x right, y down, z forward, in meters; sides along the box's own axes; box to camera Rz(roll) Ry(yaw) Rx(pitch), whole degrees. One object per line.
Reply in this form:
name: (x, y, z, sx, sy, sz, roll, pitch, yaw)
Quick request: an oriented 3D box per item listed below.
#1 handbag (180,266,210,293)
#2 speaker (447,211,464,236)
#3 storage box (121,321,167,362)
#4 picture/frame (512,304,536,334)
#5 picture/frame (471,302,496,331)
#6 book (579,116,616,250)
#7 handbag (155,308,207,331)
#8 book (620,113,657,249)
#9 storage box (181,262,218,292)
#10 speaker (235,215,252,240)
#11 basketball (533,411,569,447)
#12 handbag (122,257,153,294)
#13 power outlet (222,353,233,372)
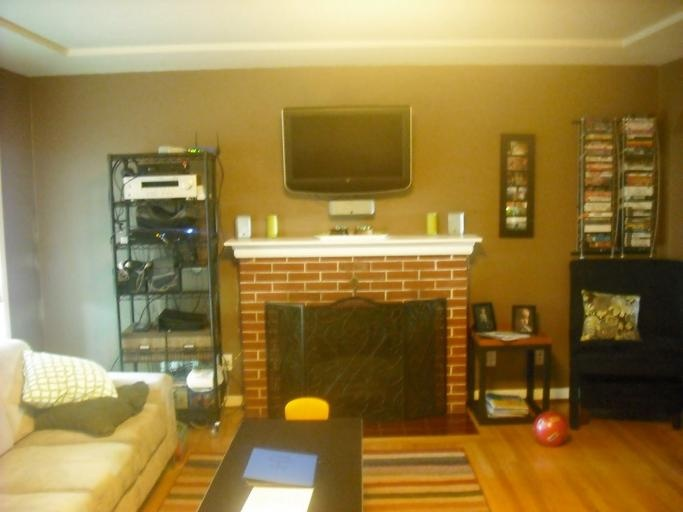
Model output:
handbag: (-1.169, 0.186, 4.981, 0.181, 0.178, 0.087, 1, 9, -1)
speaker: (0.895, -0.240, 5.015, 0.158, 0.238, 0.161, 2, 1, 7)
storage box: (-1.509, 0.653, 4.776, 0.269, 0.176, 0.263, 0, 4, -3)
picture/frame: (1.434, 0.509, 4.922, 0.208, 0.285, 0.040, 1, -3, 2)
picture/frame: (1.120, 0.489, 4.939, 0.215, 0.250, 0.040, -1, -10, -13)
book: (2.032, -0.546, 4.970, 0.312, 1.058, 0.080, -2, 3, -6)
handbag: (-1.233, 0.510, 4.849, 0.264, 0.089, 0.194, 1, 3, -7)
book: (2.368, -0.544, 4.941, 0.327, 1.074, 0.082, -2, 3, -4)
storage box: (-1.146, 0.197, 4.950, 0.332, 0.242, 0.182, 0, 0, 1)
speaker: (-0.754, -0.209, 4.824, 0.126, 0.179, 0.128, -3, 3, -21)
basketball: (1.522, 1.255, 4.556, 0.236, 0.237, 0.226, 35, -38, -20)
handbag: (-1.579, 0.153, 4.750, 0.198, 0.272, 0.266, 7, -13, -26)
power outlet: (-0.925, 0.860, 5.044, 0.130, 0.177, 0.019, 7, -15, -44)
